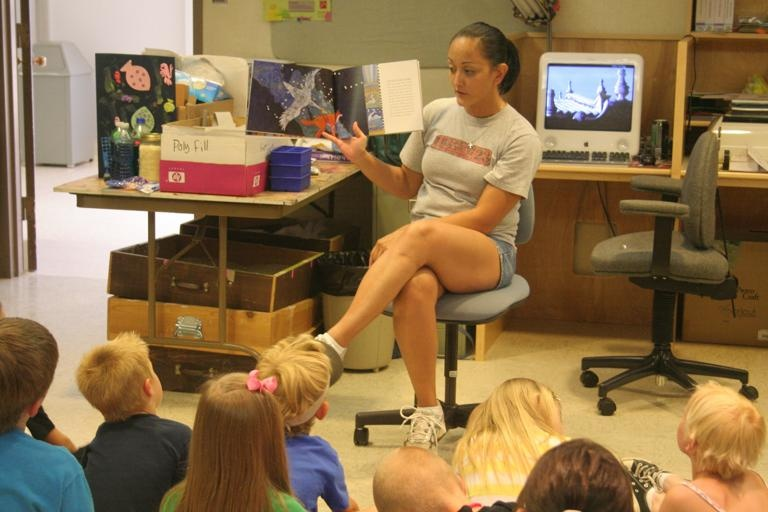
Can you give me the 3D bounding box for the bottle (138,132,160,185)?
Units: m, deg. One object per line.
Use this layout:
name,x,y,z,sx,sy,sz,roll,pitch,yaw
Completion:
bottle,-1.082,-0.454,3.256,0.096,0.220,0.193,-2,12,-19

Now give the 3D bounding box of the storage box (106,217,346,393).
storage box,-0.787,0.068,3.764,1.012,0.603,1.017,5,13,21

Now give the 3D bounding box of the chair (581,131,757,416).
chair,1.444,0.055,3.559,0.868,1.365,0.582,0,11,-10

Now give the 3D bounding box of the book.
book,-0.232,-0.720,3.261,0.910,0.414,0.199,1,-10,-1

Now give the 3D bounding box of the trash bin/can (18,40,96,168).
trash bin/can,-3.830,-1.818,8.452,0.722,1.462,0.534,-5,13,-32

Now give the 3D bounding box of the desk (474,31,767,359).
desk,1.337,-0.389,3.812,1.976,1.785,0.631,3,7,15

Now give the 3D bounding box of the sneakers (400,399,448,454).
sneakers,0.169,0.699,2.937,0.165,0.146,0.331,0,6,8

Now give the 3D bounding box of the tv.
tv,1.192,-0.875,4.265,0.791,0.737,0.592,3,11,9

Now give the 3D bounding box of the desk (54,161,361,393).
desk,-0.812,-0.025,3.529,1.004,0.625,1.341,3,15,11

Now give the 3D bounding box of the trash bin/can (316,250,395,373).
trash bin/can,-0.080,0.287,3.942,0.605,0.606,0.554,0,12,2

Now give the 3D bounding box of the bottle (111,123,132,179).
bottle,-1.233,-0.495,3.309,0.101,0.257,0.121,-1,12,-14

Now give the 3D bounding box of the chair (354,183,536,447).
chair,0.304,0.203,3.288,0.917,1.396,0.861,9,-14,-5
